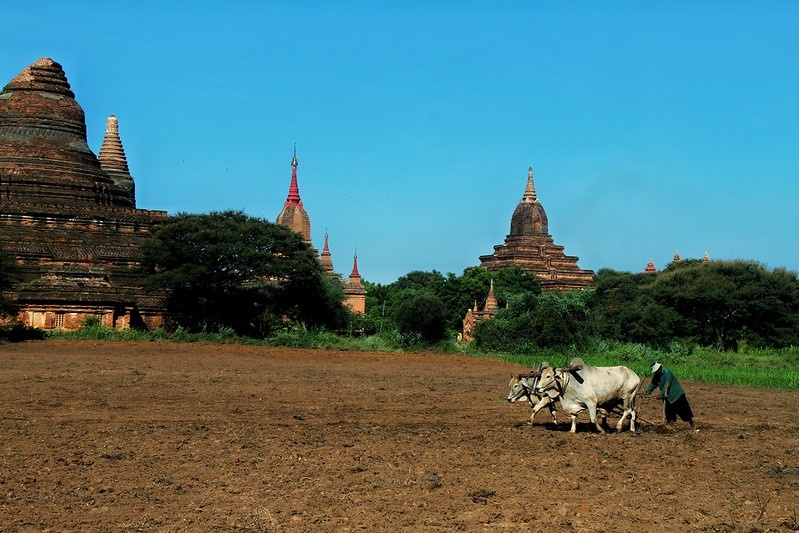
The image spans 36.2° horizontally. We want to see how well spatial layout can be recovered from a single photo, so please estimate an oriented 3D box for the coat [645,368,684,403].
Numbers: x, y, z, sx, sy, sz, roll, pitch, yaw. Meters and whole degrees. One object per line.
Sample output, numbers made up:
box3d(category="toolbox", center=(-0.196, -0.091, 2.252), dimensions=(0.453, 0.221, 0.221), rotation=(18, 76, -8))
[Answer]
box3d(category="coat", center=(8.178, 3.701, 37.395), dimensions=(1.052, 1.050, 1.032), rotation=(-4, 8, 45))
